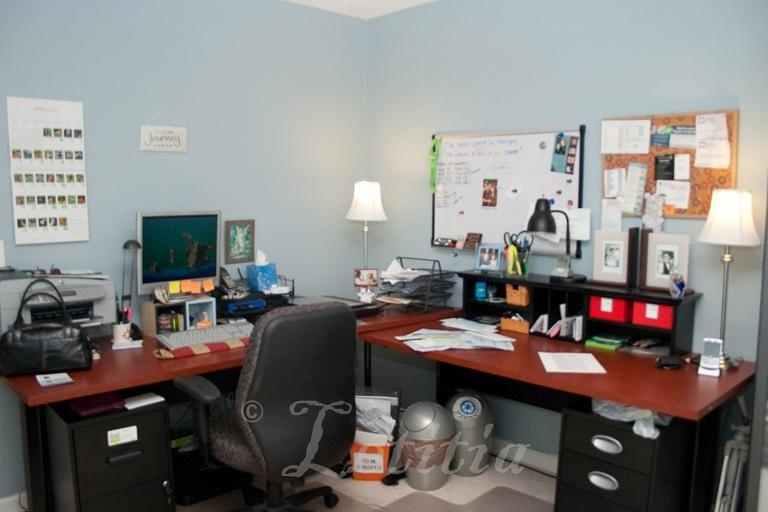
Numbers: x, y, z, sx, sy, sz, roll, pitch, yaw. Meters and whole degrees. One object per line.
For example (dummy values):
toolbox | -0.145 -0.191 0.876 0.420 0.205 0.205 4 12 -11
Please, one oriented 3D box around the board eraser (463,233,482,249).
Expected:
board eraser | 0.633 -0.109 3.863 0.116 0.104 0.031 7 -6 45

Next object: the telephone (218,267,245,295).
telephone | -0.981 0.172 3.616 0.102 0.113 0.299 -11 18 -42

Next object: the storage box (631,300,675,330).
storage box | 1.515 0.330 3.036 0.155 0.093 0.156 4 0 27

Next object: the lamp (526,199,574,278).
lamp | 1.048 -0.124 3.406 0.255 0.480 0.380 0 7 19

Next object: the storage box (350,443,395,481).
storage box | -0.068 1.317 3.505 0.275 0.192 0.223 1 0 5

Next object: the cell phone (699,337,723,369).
cell phone | 1.699 0.509 2.806 0.093 0.139 0.068 1 8 25

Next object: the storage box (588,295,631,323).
storage box | 1.309 0.310 3.162 0.169 0.100 0.167 6 6 40

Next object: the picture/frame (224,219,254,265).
picture/frame | -1.034 -0.105 3.826 0.018 0.393 0.312 4 6 43

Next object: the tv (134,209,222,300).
tv | -1.294 -0.034 3.444 0.049 0.491 0.546 11 11 43

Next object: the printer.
printer | -1.769 0.248 2.989 0.427 0.236 0.392 -2 4 -44

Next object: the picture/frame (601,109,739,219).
picture/frame | 1.677 -0.535 3.109 0.712 0.558 0.033 3 8 30

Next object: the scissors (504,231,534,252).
scissors | 0.909 -0.088 3.641 0.117 0.069 0.179 2 0 -44

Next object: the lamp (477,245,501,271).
lamp | 0.724 0.013 3.724 0.162 0.160 0.077 3 9 37

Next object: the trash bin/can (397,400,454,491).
trash bin/can | 0.307 1.253 3.464 0.380 0.502 0.377 -2 -14 22

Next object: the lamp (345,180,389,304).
lamp | -0.111 -0.111 4.082 0.305 0.946 0.758 -3 7 -3

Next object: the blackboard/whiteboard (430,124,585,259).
blackboard/whiteboard | 0.815 -0.450 3.754 0.038 0.868 1.235 -9 12 -42
